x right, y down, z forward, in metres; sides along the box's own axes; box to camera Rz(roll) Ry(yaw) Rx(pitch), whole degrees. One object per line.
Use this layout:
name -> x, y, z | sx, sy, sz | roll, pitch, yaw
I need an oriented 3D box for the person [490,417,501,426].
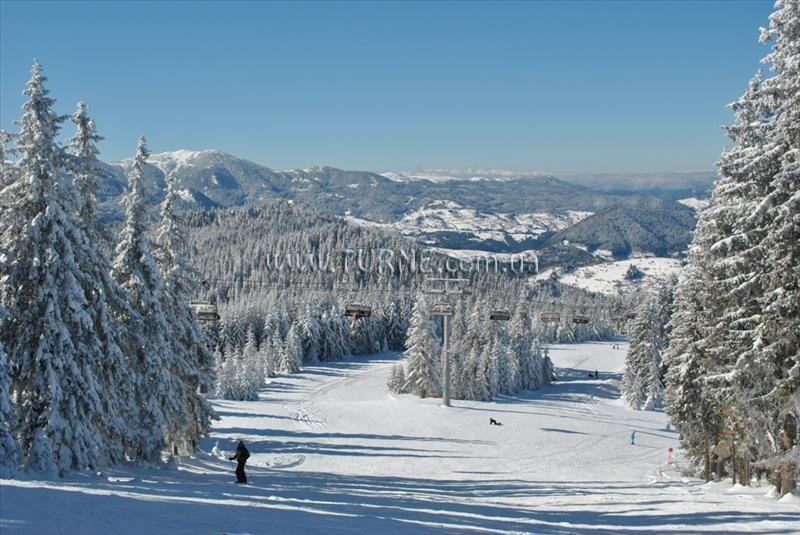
person -> 7.851, 12.707, 87.455 | 1.028, 0.525, 1.694 | 0, -5, 5
